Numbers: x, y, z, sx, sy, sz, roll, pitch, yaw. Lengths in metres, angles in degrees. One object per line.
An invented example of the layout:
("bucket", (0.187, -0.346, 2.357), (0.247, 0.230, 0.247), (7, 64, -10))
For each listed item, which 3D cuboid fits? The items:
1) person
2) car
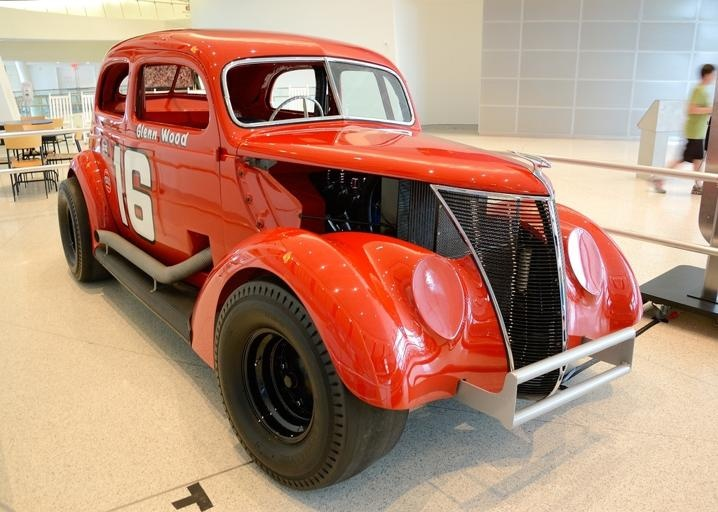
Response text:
("person", (5.319, -2.030, 7.813), (0.670, 2.003, 1.175), (9, 22, 30))
("car", (-0.454, -0.304, 3.476), (2.168, 1.974, 4.103), (-13, 21, -40))
